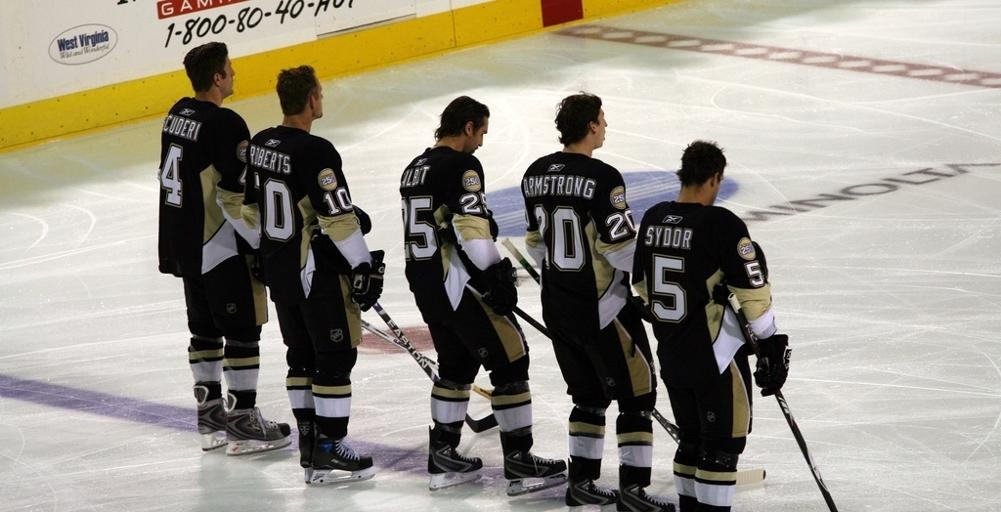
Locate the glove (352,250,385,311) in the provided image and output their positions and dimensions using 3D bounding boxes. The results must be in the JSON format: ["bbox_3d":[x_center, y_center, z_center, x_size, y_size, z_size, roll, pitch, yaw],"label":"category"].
[{"bbox_3d":[-1.077,0.222,8.201,0.338,0.451,0.212,4,0,40],"label":"glove"}]

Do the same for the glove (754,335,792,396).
[{"bbox_3d":[2.139,0.852,7.300,0.214,0.401,0.391,6,-3,-34],"label":"glove"}]

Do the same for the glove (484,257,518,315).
[{"bbox_3d":[-0.001,0.262,7.897,0.284,0.501,0.126,-5,19,-2],"label":"glove"}]
